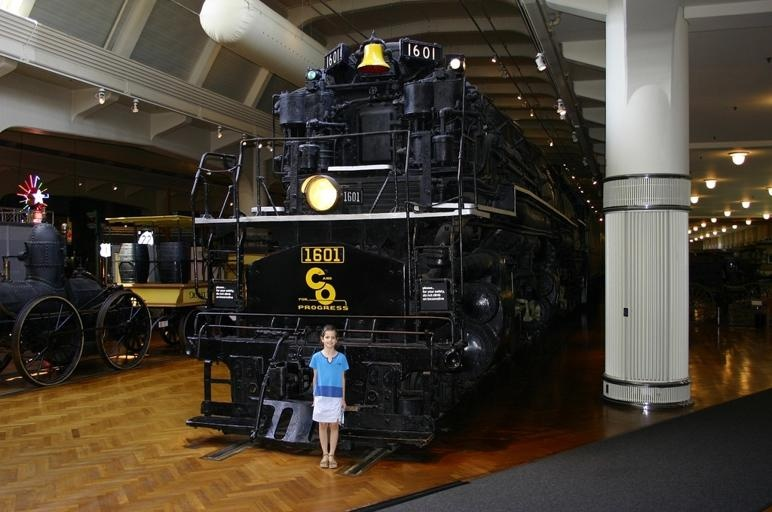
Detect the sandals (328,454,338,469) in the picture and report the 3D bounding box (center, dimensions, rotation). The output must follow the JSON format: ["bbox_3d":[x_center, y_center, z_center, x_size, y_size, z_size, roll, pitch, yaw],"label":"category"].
[{"bbox_3d":[-0.597,2.286,6.387,0.096,0.108,0.282,0,-15,-1],"label":"sandals"}]

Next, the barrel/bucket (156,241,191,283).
[{"bbox_3d":[-4.517,0.143,12.314,0.808,0.857,0.811,-1,-2,0],"label":"barrel/bucket"}]

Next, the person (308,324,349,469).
[{"bbox_3d":[-0.637,1.553,6.434,0.397,1.571,0.409,-2,4,-8],"label":"person"}]

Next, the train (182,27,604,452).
[{"bbox_3d":[0.276,-0.589,9.712,3.947,5.215,7.618,0,4,22],"label":"train"}]
